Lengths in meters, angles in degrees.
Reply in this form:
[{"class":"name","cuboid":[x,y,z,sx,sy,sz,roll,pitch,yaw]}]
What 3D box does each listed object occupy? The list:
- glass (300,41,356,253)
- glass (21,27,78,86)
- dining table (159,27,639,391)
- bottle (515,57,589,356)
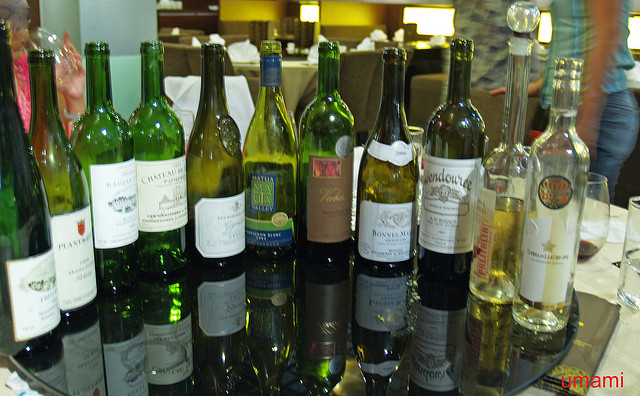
[{"class":"glass","cuboid":[0.013,-0.103,1.177,0.115,0.418,0.178,-1,20,4]},{"class":"glass","cuboid":[-0.759,-0.387,1.597,0.112,0.161,0.387,-7,22,-14]},{"class":"dining table","cuboid":[0.205,0.021,1.212,1.100,0.791,0.273,3,-21,6]},{"class":"bottle","cuboid":[0.408,0.006,0.989,0.106,0.472,0.239,8,22,25]}]
